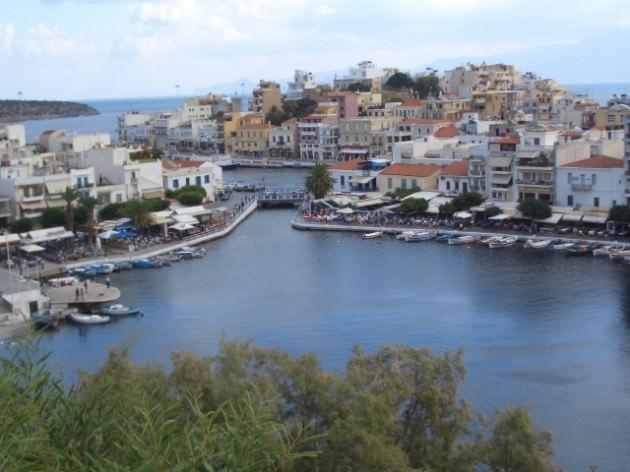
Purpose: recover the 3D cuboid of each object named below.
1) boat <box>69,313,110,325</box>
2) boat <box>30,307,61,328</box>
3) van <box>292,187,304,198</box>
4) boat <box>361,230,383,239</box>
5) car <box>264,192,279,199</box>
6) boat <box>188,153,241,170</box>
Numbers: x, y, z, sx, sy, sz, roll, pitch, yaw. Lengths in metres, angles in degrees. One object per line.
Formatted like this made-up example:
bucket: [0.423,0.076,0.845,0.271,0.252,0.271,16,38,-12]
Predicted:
boat: [-15.446,5.674,66.749,1.973,0.542,1.062,2,10,-4]
boat: [-18.553,5.640,66.964,1.044,0.740,2.566,-10,12,-39]
van: [-1.898,-4.615,110.803,1.536,0.960,3.225,-4,7,1]
boat: [5.301,-0.089,89.265,2.111,0.541,1.097,-9,9,-39]
car: [-4.958,-4.488,110.008,1.588,0.739,1.781,-4,7,2]
boat: [-15.727,-11.765,154.931,6.640,2.471,23.881,-5,7,-5]
